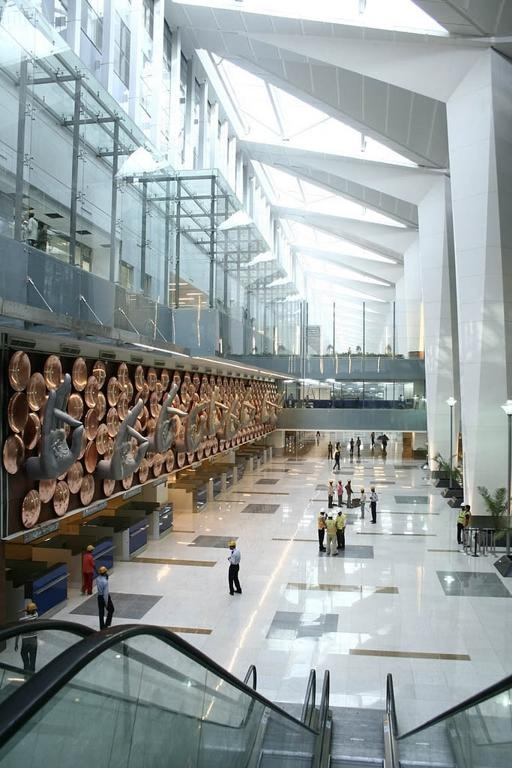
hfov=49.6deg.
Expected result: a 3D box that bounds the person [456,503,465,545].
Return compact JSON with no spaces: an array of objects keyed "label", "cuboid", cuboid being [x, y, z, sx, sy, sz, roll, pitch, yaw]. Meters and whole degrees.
[{"label":"person","cuboid":[5.910,4.213,15.939,0.208,0.975,0.581,0,-2,21]}]

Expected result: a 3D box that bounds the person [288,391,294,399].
[{"label":"person","cuboid":[2.527,0.954,40.348,0.285,0.503,0.716,0,-2,21]}]

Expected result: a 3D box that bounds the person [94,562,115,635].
[{"label":"person","cuboid":[-2.670,3.774,9.781,0.259,1.145,0.780,1,-2,-15]}]
